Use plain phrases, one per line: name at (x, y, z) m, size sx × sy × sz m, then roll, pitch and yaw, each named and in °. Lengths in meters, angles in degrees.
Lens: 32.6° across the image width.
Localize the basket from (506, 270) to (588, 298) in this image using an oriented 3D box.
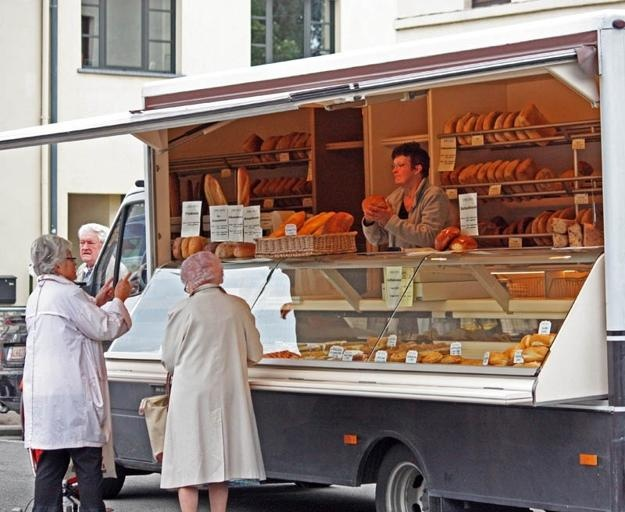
basket at (1.421, 0.176, 6.530) m, size 0.191 × 0.192 × 0.632 m, roll -1°, pitch 3°, yaw -26°

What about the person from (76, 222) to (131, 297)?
person at (-2.256, -0.010, 11.149) m, size 0.661 × 0.722 × 0.367 m, roll -4°, pitch -5°, yaw 18°

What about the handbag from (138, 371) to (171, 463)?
handbag at (-1.101, 1.128, 7.483) m, size 0.274 × 0.534 × 0.394 m, roll -8°, pitch 12°, yaw -7°

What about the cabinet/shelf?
cabinet/shelf at (0.127, 0.123, 7.581) m, size 1.364 × 1.344 × 4.043 m, roll 3°, pitch -4°, yaw -41°
